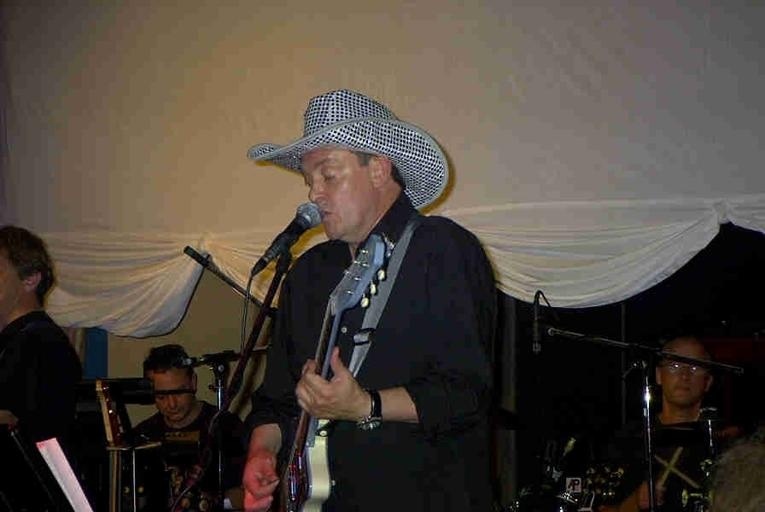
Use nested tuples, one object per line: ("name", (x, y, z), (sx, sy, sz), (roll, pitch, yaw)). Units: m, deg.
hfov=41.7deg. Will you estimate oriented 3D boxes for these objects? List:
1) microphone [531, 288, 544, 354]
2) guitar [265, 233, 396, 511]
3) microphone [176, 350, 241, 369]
("microphone", (1.529, 0.639, 9.862), (0.128, 0.650, 0.174), (16, 26, 42))
("guitar", (-0.379, 0.861, 7.323), (0.817, 2.009, 0.347), (-1, 0, -3))
("microphone", (-1.667, 0.999, 9.753), (0.548, 0.144, 0.309), (0, -2, -11))
